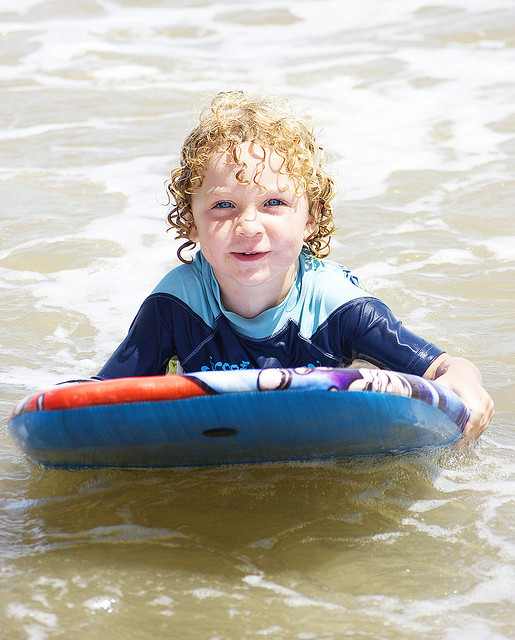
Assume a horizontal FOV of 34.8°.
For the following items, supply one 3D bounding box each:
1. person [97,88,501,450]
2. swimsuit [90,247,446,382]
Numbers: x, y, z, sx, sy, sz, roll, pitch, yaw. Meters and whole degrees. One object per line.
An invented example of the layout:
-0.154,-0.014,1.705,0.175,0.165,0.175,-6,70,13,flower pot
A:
0.055,0.009,2.710,1.495,1.325,0.741,4,2,8,person
0.013,0.024,2.696,1.440,0.426,0.357,-2,19,6,swimsuit
